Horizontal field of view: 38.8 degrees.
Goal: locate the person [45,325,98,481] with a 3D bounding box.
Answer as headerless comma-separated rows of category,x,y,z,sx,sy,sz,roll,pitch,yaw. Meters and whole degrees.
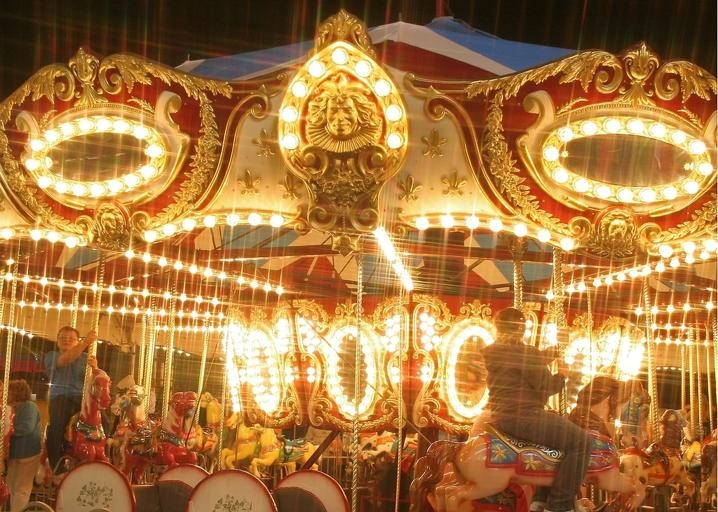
person,-3.859,1.885,13.467,0.511,1.875,1.179,12,-16,-33
